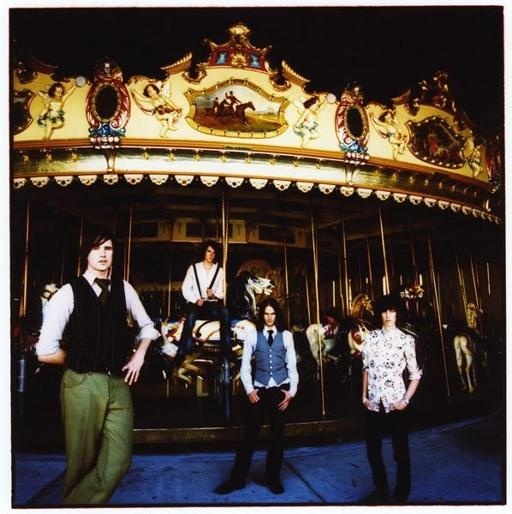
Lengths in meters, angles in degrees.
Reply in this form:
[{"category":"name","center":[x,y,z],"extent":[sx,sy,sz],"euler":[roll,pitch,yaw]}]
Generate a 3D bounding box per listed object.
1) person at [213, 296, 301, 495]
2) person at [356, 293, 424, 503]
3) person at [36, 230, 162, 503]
[{"category":"person","center":[0.071,1.435,5.531],"extent":[0.750,1.993,0.221],"euler":[1,-8,-6]},{"category":"person","center":[1.432,1.479,5.517],"extent":[0.582,2.161,0.330],"euler":[-3,-9,17]},{"category":"person","center":[-1.622,1.311,5.503],"extent":[1.031,3.293,0.730],"euler":[1,10,-17]}]
